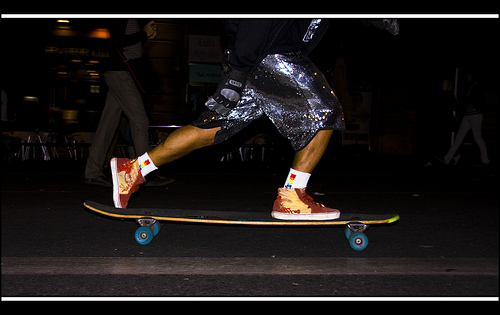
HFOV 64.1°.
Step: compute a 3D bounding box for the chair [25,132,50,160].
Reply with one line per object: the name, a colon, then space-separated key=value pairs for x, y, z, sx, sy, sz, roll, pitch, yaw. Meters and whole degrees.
chair: x=-6.575 y=-0.352 z=12.466 sx=0.838 sy=0.903 sz=0.615 roll=0 pitch=30 yaw=-15
